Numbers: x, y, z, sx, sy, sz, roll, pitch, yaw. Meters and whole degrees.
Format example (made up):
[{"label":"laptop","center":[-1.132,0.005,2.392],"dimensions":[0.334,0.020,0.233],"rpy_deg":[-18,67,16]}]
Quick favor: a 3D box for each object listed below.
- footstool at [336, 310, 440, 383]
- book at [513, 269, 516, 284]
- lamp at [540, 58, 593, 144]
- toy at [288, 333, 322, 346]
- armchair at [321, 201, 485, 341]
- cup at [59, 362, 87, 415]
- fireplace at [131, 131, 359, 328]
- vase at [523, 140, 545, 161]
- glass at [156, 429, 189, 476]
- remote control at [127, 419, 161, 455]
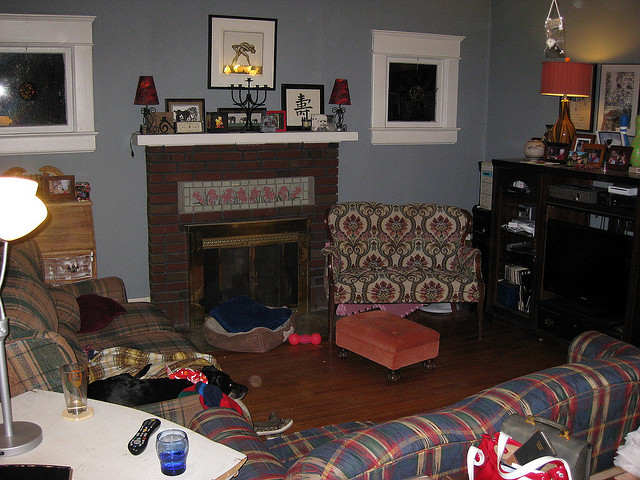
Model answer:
[{"label":"footstool","center":[0.501,0.739,4.013],"dimensions":[0.722,0.444,0.828],"rpy_deg":[-4,14,-30]},{"label":"book","center":[1.931,0.365,4.832],"dimensions":[0.007,0.148,0.033],"rpy_deg":[-8,16,-30]},{"label":"lamp","center":[2.179,-1.255,4.521],"dimensions":[0.415,0.875,0.463],"rpy_deg":[-1,7,-15]},{"label":"toy","center":[-0.138,0.887,4.349],"dimensions":[0.304,0.109,0.107],"rpy_deg":[2,-6,-7]},{"label":"armchair","center":[0.743,0.254,4.569],"dimensions":[1.421,1.121,0.813],"rpy_deg":[0,9,-2]},{"label":"cup","center":[-0.952,0.563,1.899],"dimensions":[0.090,0.173,0.159],"rpy_deg":[-7,16,-27]},{"label":"fireplace","center":[-0.839,-0.155,4.735],"dimensions":[2.381,1.863,0.774],"rpy_deg":[-5,13,-33]},{"label":"vase","center":[2.040,-0.843,4.671],"dimensions":[0.189,0.176,0.177],"rpy_deg":[0,2,-23]},{"label":"glass","center":[-0.486,0.691,1.613],"dimensions":[0.092,0.116,0.111],"rpy_deg":[-1,16,-25]},{"label":"remote control","center":[-0.629,0.683,1.747],"dimensions":[0.050,0.173,0.029],"rpy_deg":[29,17,-18]}]
